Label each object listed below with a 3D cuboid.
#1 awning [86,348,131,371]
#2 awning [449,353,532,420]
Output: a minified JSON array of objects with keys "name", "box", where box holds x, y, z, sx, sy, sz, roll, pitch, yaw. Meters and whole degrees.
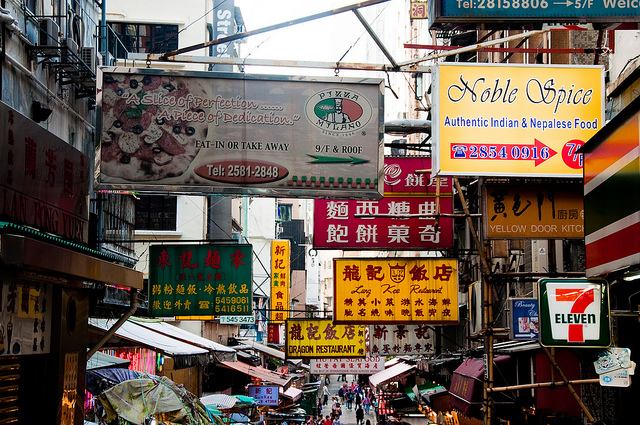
[{"name":"awning","box":[-5.435,3.856,33.411,0.803,0.263,0.826,9,-3,-19]},{"name":"awning","box":[4.415,4.395,33.497,1.485,1.565,2.846,2,-13,-7]}]
